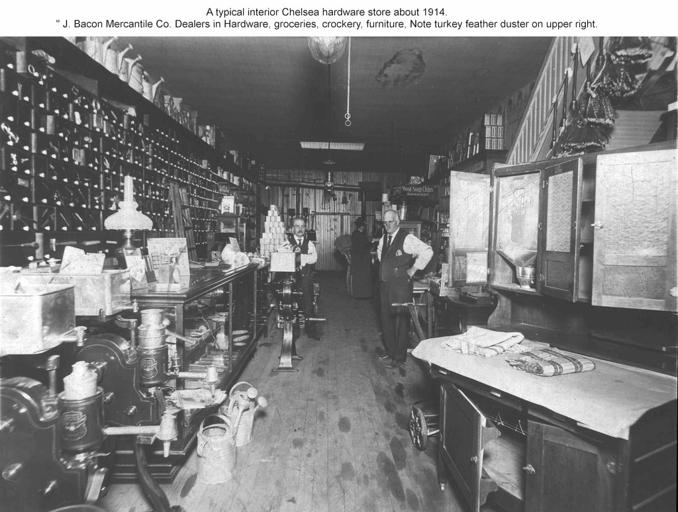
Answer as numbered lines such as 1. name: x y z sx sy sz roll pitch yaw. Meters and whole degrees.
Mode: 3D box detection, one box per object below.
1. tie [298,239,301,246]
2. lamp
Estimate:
1. tie: -0.501 -0.182 6.986 0.043 0.084 0.016 4 -12 -22
2. lamp: -1.617 -0.362 4.169 0.325 0.526 0.339 -2 26 -25
